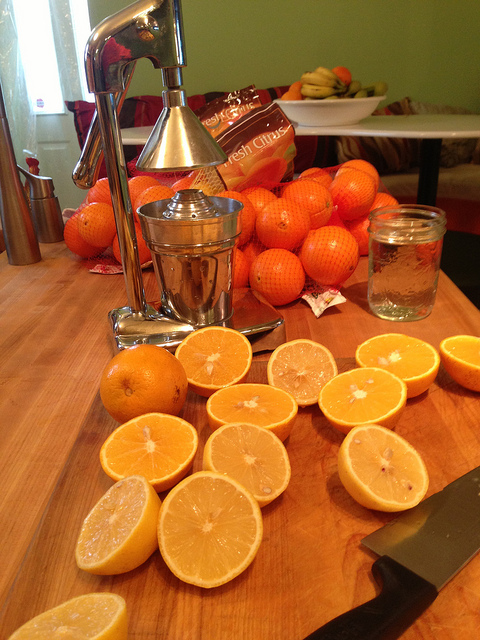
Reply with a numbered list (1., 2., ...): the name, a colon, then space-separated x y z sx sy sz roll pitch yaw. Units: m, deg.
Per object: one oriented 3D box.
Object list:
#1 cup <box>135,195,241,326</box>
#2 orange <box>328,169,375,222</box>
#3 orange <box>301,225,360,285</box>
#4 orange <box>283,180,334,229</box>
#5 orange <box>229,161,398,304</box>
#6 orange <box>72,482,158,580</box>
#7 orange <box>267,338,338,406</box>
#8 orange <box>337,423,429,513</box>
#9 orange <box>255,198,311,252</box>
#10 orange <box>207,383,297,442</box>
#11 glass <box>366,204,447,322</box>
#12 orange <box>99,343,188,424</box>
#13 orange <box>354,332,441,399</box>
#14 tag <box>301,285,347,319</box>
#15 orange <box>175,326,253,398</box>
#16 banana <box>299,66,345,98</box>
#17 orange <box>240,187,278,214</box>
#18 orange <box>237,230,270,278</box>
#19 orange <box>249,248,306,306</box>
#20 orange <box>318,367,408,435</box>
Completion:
1. cup: -0.067 -0.087 0.743 0.145 0.166 0.138 -2 27 1
2. orange: 0.222 -0.247 0.963 0.090 0.102 0.087 3 10 -14
3. orange: 0.140 -0.113 0.857 0.094 0.103 0.093 -4 15 -3
4. orange: 0.133 -0.219 0.938 0.084 0.077 0.125 -3 26 -12
5. orange: 0.132 -0.161 0.935 0.240 0.115 0.329 35 43 15
6. orange: -0.108 0.179 0.445 0.072 0.047 0.072 6 44 49
7. orange: 0.081 0.065 0.653 0.099 0.080 0.071 1 27 6
8. orange: 0.140 0.144 0.483 0.083 0.037 0.095 14 35 24
9. orange: 0.069 -0.169 0.865 0.098 0.091 0.088 -3 15 -2
10. orange: 0.014 0.111 0.577 0.106 0.035 0.106 -17 22 -37
11. glass: 0.270 -0.076 0.872 0.139 0.222 0.105 -5 27 -4
12. orange: -0.107 0.070 0.610 0.121 0.081 0.122 -10 31 -21
13. orange: 0.216 0.061 0.667 0.104 0.040 0.102 15 46 34
14. tag: 0.144 -0.039 0.853 0.062 0.016 0.061 -28 39 7
15. orange: -0.032 0.050 0.656 0.090 0.050 0.087 -19 44 -8
16. banana: 0.326 -0.939 1.995 0.153 0.059 0.129 6 64 5
17. orange: 0.034 -0.227 0.933 0.062 0.034 0.052 8 32 23
18. orange: 0.020 -0.118 0.919 0.056 0.067 0.038 0 -10 7
19. orange: 0.063 -0.073 0.887 0.100 0.110 0.097 -2 21 1
20. orange: 0.145 0.100 0.587 0.100 0.039 0.099 -9 30 4
